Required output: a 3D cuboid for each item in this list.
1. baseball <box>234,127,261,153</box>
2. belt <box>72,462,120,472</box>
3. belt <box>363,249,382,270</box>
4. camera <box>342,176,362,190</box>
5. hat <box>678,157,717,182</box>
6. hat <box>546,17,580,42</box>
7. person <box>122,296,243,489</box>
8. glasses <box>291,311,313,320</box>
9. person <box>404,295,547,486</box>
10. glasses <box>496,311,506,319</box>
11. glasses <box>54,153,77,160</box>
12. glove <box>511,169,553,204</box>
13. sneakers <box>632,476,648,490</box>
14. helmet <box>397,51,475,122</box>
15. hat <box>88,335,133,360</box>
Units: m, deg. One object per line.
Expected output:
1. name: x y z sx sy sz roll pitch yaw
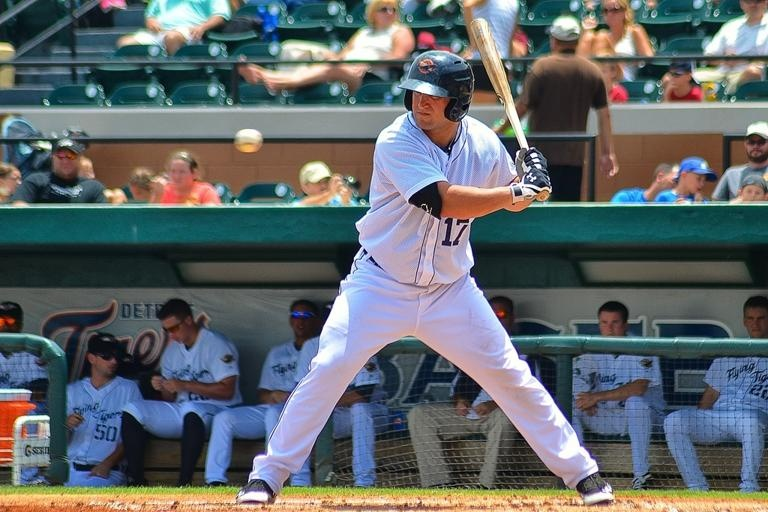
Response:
1. baseball: -1.000 -0.852 12.831 0.182 0.117 0.174 -4 -3 -34
2. belt: -2.196 1.588 13.055 0.222 0.046 0.115 -1 17 -3
3. belt: -0.083 0.027 11.266 0.136 0.081 0.101 44 -4 -19
4. camera: -0.245 -0.532 12.822 0.054 0.056 0.104 38 7 39
5. hat: 2.306 -0.646 12.777 0.227 0.110 0.164 14 -3 16
6. hat: 1.351 -1.682 12.968 0.216 0.146 0.287 -2 18 -2
7. person: -1.485 1.090 13.267 0.836 1.433 0.890 -2 -8 39
8. glasses: -0.632 0.451 13.263 0.083 0.025 0.080 1 -32 7
9. person: 0.777 0.816 12.476 0.646 1.038 0.716 3 -4 -40
10. glasses: 0.884 0.450 13.172 0.097 0.063 0.033 -6 -19 2
11. glasses: -2.357 -0.733 12.896 0.153 0.049 0.030 -5 -6 -11
12. glove: 0.942 -0.433 11.092 0.263 0.183 0.118 -13 -31 -18
13. sneakers: 1.807 1.594 12.238 0.125 0.076 0.075 -7 -6 4
14. helmet: 0.347 -1.115 11.266 0.524 0.389 0.414 -13 25 -43
15. hat: -2.123 0.693 13.409 0.275 0.131 0.195 18 -3 24
